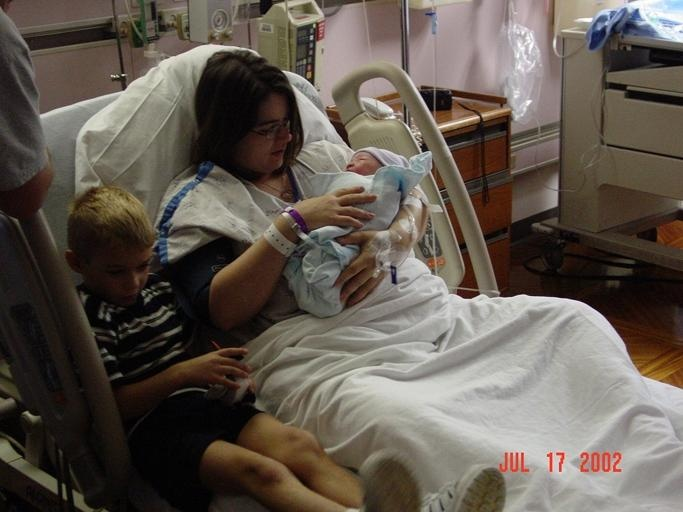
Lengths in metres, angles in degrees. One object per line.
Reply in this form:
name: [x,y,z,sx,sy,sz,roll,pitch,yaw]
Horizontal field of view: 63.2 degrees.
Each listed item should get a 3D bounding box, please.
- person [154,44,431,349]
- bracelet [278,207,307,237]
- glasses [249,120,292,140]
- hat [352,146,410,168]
person: [-0.171,-0.187,1.731,0.506,0.746,0.880,16,37,27]
bracelet: [-0.126,-0.088,1.451,0.027,0.075,0.057,-34,10,-12]
glasses: [-0.200,-0.377,1.591,0.073,0.024,0.073,12,35,30]
hat: [0.139,-0.306,1.716,0.111,0.048,0.094,6,12,-23]
